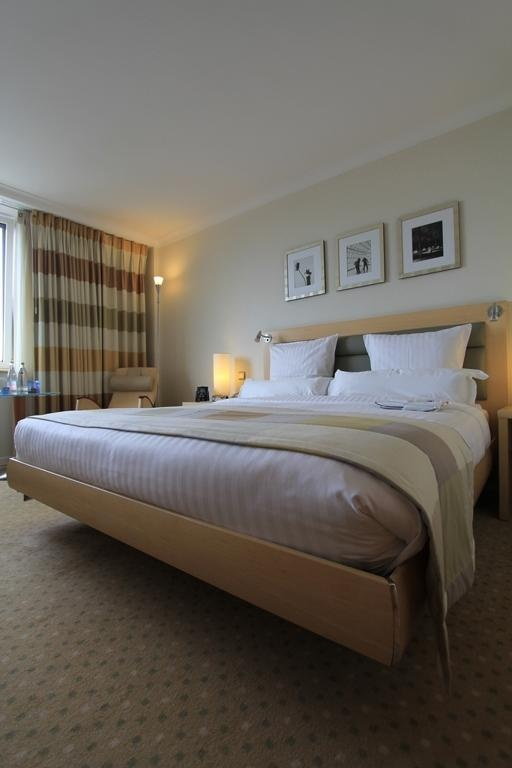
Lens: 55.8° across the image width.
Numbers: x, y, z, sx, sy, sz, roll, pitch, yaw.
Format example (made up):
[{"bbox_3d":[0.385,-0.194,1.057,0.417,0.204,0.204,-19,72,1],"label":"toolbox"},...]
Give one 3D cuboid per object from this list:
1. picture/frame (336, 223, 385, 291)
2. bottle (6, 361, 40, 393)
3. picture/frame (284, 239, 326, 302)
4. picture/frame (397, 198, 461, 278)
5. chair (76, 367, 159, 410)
[{"bbox_3d":[0.721,-0.869,3.290,0.023,0.587,0.453,-1,2,-41],"label":"picture/frame"},{"bbox_3d":[-1.763,-0.056,3.620,0.197,0.404,0.366,1,1,-28],"label":"bottle"},{"bbox_3d":[0.378,-0.854,3.629,0.031,0.522,0.459,0,0,-42],"label":"picture/frame"},{"bbox_3d":[1.068,-0.889,2.940,0.022,0.634,0.492,1,-2,-42],"label":"picture/frame"},{"bbox_3d":[-1.169,0.070,4.234,0.353,0.479,0.534,-1,-5,12],"label":"chair"}]
